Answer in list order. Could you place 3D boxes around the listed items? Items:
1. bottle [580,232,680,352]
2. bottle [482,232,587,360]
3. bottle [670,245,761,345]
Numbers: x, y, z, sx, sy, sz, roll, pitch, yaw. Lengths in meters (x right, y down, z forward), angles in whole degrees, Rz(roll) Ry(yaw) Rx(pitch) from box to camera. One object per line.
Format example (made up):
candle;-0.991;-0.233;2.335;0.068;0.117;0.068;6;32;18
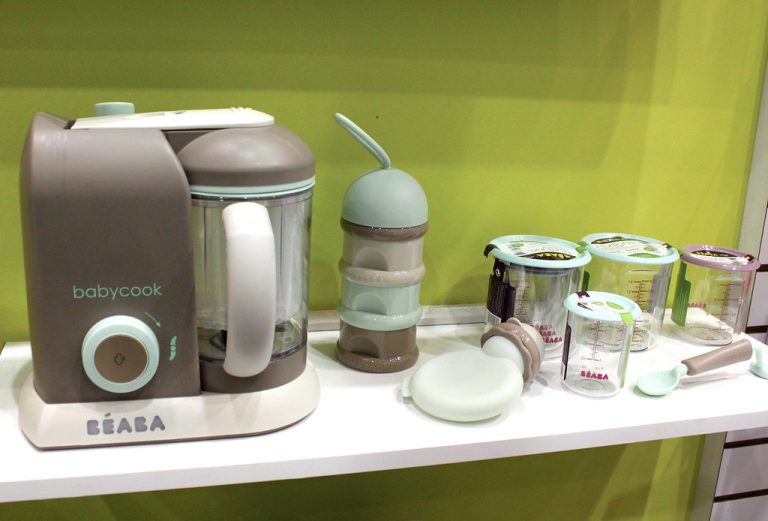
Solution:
bottle;0.466;0.072;1.369;0.216;0.222;0.217;-3;18;-7
bottle;0.293;0.060;1.327;0.198;0.228;0.222;-4;20;-12
bottle;0.647;0.063;1.375;0.191;0.207;0.193;0;15;0
